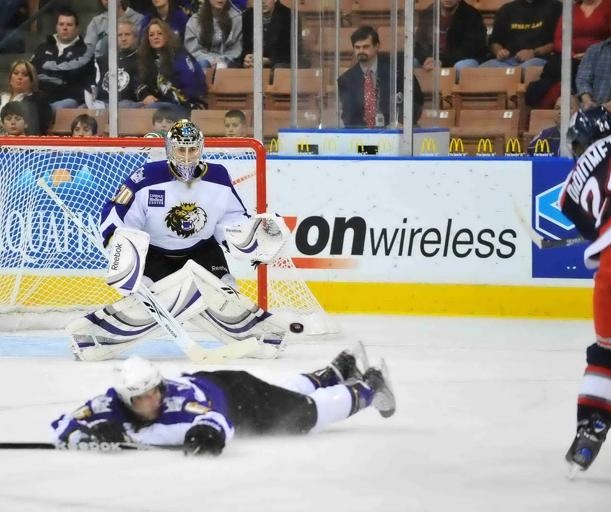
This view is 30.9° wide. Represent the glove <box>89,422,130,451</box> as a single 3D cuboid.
[{"bbox_3d":[-0.837,0.772,4.700,0.151,0.131,0.020,-1,13,-4],"label":"glove"}]

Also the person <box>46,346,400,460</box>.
[{"bbox_3d":[-0.357,0.658,4.798,0.946,0.299,0.645,1,-11,-28],"label":"person"}]

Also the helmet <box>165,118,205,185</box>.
[{"bbox_3d":[-0.663,-0.585,6.148,0.210,0.343,0.174,-2,13,-9],"label":"helmet"}]
